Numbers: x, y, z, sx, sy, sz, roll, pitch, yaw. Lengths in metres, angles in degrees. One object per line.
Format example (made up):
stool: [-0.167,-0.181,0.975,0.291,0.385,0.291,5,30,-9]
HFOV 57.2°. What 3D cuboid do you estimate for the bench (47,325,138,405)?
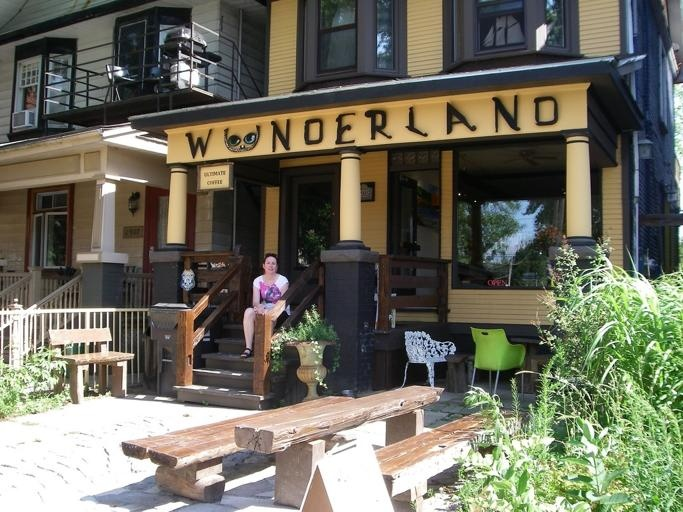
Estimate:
bench: [-3.838,1.703,9.623,0.783,1.068,1.133,0,-2,29]

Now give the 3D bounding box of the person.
person: [-1.201,0.759,9.795,0.764,1.605,0.838,-2,-3,-10]

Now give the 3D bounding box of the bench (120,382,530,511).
bench: [-0.287,1.821,5.696,3.037,0.829,2.020,-3,-3,-9]

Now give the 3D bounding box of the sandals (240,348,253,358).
sandals: [-1.469,1.512,9.731,0.112,0.129,0.344,-1,-8,4]

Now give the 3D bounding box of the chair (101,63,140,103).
chair: [-5.467,-4.169,15.103,0.653,0.718,0.744,1,-4,31]
